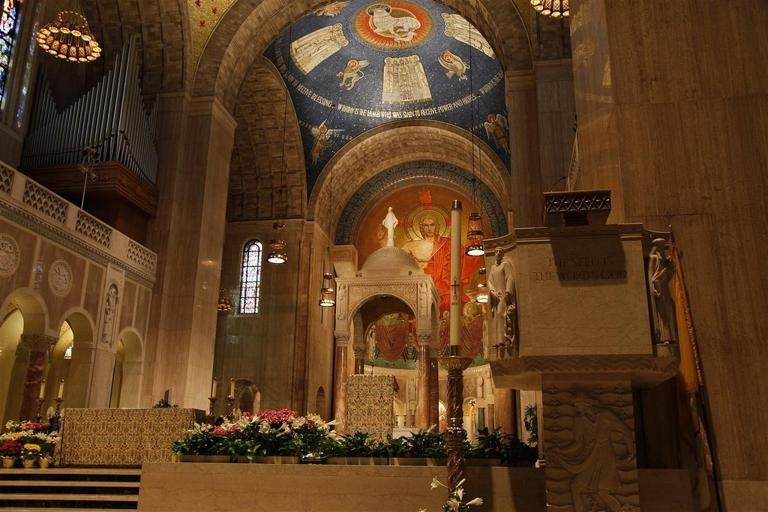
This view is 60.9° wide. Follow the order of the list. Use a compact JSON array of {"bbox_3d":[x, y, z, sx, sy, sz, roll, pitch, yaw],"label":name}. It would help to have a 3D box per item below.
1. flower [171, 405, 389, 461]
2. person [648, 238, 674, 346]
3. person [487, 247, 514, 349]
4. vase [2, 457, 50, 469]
[{"bbox_3d":[-1.808,2.692,9.897,2.539,0.755,0.931,4,-22,-11],"label":"flower"},{"bbox_3d":[2.784,0.359,6.529,0.270,1.021,0.287,-5,-22,11],"label":"person"},{"bbox_3d":[1.196,0.470,6.810,0.164,1.122,0.399,14,-26,-32],"label":"person"},{"bbox_3d":[-6.465,3.695,11.647,1.049,0.206,0.162,-4,-22,11],"label":"vase"}]
